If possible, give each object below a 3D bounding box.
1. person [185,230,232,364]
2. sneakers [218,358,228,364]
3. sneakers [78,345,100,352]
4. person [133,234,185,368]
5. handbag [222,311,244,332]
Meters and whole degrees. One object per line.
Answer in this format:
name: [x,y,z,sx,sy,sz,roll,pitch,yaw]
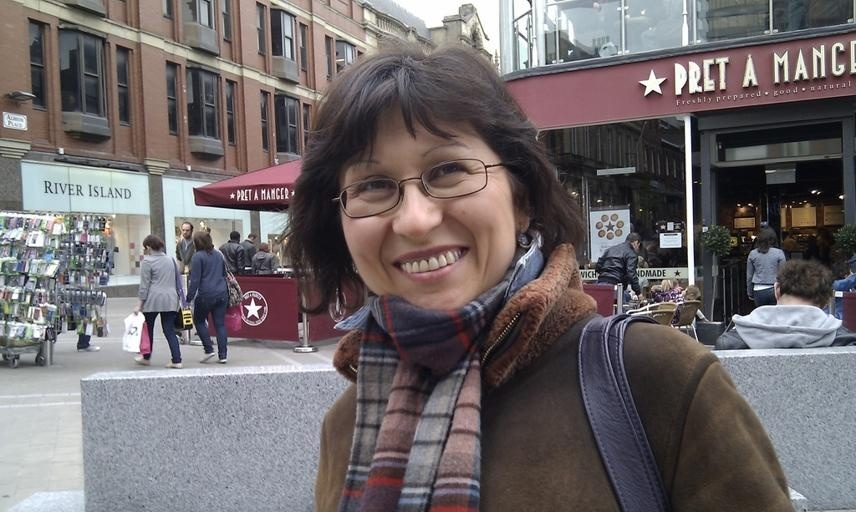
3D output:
person: [-4.117,0.793,12.706,0.766,2.511,0.645,-3,0,-21]
sneakers: [-3.828,1.980,12.652,0.165,0.105,0.298,-4,0,-17]
sneakers: [-7.083,1.976,14.199,0.386,0.158,0.143,0,0,-10]
person: [-4.887,0.841,12.373,0.767,2.484,0.623,-3,0,-17]
handbag: [-3.790,1.278,13.125,0.382,0.536,0.172,-5,-1,29]
